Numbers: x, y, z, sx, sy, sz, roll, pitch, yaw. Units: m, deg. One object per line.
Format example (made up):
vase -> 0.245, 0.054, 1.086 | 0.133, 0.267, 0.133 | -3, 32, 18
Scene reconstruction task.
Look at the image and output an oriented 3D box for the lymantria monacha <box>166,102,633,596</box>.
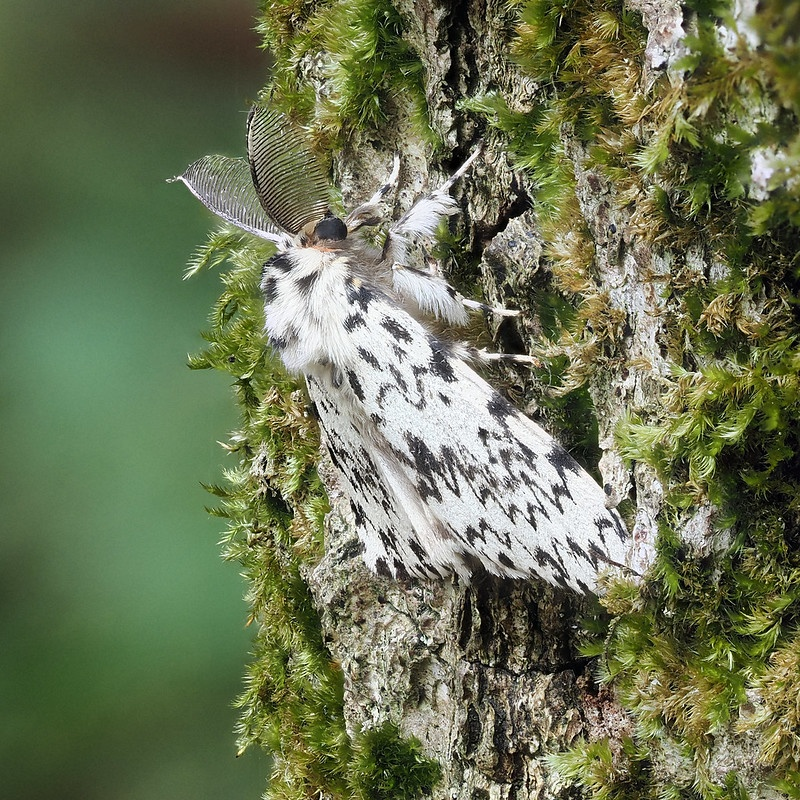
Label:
lymantria monacha -> 0.008, -0.054, 1.809 | 0.356, 0.532, 0.149 | -23, -5, 44
